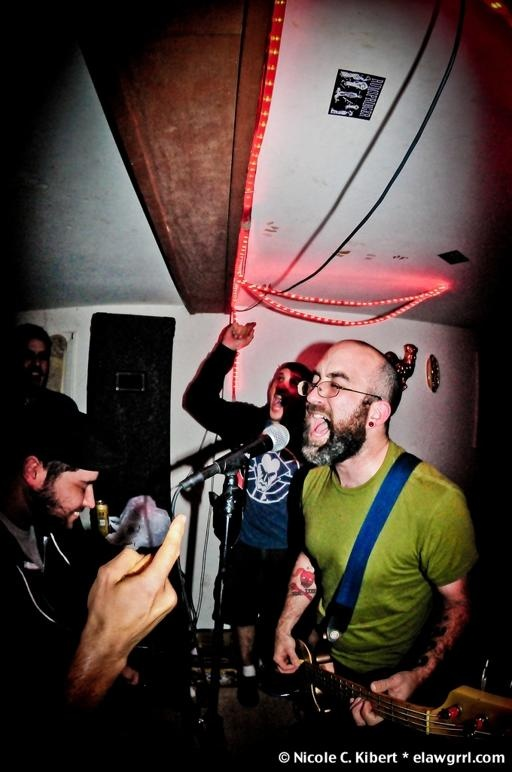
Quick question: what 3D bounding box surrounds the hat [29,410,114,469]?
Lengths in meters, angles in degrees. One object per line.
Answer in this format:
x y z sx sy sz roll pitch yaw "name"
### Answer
-1.431 0.374 4.506 0.448 0.416 0.577 0 5 -15 "hat"
